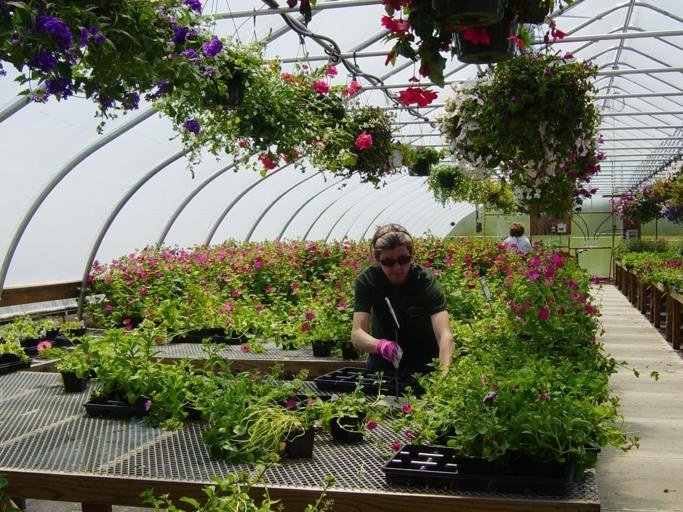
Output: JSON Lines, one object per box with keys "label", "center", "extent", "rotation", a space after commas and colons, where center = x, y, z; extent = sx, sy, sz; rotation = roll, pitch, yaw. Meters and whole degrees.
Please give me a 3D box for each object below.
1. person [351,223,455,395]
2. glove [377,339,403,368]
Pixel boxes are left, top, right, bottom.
{"label": "person", "center": [0.330, 0.230, 2.845], "extent": [0.534, 0.864, 0.869], "rotation": [0, -10, 1]}
{"label": "glove", "center": [0.237, 0.426, 2.307], "extent": [0.048, 0.086, 0.168], "rotation": [3, 5, -10]}
